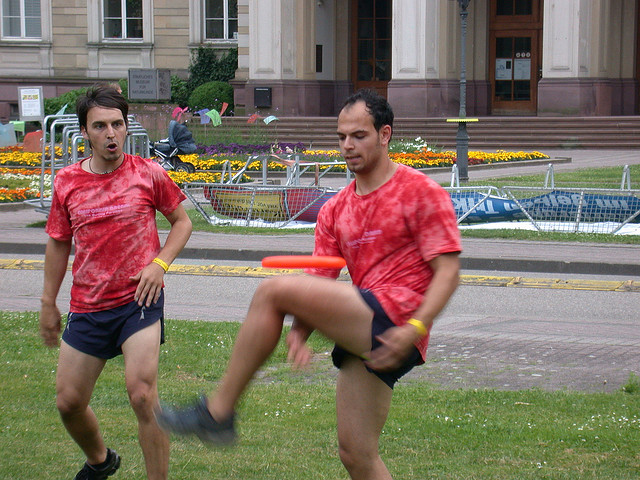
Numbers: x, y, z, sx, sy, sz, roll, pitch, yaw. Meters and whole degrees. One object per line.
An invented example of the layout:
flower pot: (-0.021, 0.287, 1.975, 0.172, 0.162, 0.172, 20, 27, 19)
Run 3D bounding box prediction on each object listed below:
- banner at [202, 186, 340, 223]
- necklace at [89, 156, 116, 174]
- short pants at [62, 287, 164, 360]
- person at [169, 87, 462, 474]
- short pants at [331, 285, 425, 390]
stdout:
banner: (-0.960, -0.622, 17.424, 2.128, 0.660, 0.476, 3, 11, 13)
necklace: (-1.517, -0.515, 7.021, 0.126, 0.119, 0.030, -15, 2, -1)
short pants: (-1.424, 0.575, 6.871, 0.675, 0.455, 0.269, -1, 11, -9)
person: (0.094, 0.265, 6.321, 1.486, 2.348, 0.851, 2, 11, 6)
short pants: (0.360, 0.566, 6.348, 0.485, 0.664, 0.793, 14, 16, 33)
